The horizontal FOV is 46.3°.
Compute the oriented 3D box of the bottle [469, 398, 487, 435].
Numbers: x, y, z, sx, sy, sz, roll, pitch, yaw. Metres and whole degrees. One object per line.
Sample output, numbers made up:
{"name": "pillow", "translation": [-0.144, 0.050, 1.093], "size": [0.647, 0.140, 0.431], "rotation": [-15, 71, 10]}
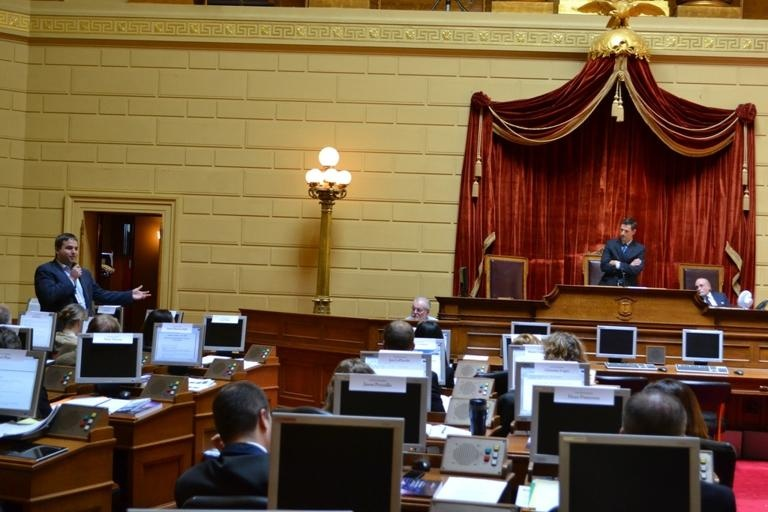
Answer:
{"name": "bottle", "translation": [0.807, 1.381, 7.681], "size": [0.144, 0.301, 0.266], "rotation": [2, -4, 6]}

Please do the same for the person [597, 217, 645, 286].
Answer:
{"name": "person", "translation": [3.116, -0.040, 11.748], "size": [0.552, 0.902, 0.631], "rotation": [2, -4, 13]}

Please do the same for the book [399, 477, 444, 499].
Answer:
{"name": "book", "translation": [0.287, 1.818, 7.037], "size": [0.298, 0.117, 0.203], "rotation": [2, -4, 4]}

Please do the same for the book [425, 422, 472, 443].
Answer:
{"name": "book", "translation": [0.561, 1.541, 7.828], "size": [0.372, 0.096, 0.411], "rotation": [2, -4, 4]}

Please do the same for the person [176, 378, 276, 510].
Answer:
{"name": "person", "translation": [-1.185, 1.436, 6.746], "size": [0.669, 0.948, 0.402], "rotation": [4, -4, -12]}

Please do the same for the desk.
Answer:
{"name": "desk", "translation": [-2.187, 1.536, 7.713], "size": [0.860, 0.960, 1.450], "rotation": [5, 6, 32]}

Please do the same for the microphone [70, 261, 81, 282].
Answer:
{"name": "microphone", "translation": [-3.504, 0.202, 10.331], "size": [0.143, 0.179, 0.236], "rotation": [5, 9, -24]}

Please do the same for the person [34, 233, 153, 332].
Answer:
{"name": "person", "translation": [-3.730, 0.359, 11.255], "size": [1.062, 1.958, 1.242], "rotation": [-2, 0, 12]}

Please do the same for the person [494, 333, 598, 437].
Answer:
{"name": "person", "translation": [1.424, 1.171, 7.953], "size": [0.531, 1.039, 0.868], "rotation": [-1, 2, -23]}

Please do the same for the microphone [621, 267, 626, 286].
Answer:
{"name": "microphone", "translation": [3.092, 0.297, 11.593], "size": [0.058, 0.180, 0.139], "rotation": [2, -4, 12]}

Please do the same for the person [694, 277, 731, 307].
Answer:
{"name": "person", "translation": [4.255, 0.461, 11.671], "size": [0.420, 0.421, 1.156], "rotation": [1, -4, 20]}

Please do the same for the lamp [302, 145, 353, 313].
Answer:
{"name": "lamp", "translation": [-0.825, -0.405, 13.031], "size": [0.637, 2.501, 0.796], "rotation": [3, -4, -3]}
